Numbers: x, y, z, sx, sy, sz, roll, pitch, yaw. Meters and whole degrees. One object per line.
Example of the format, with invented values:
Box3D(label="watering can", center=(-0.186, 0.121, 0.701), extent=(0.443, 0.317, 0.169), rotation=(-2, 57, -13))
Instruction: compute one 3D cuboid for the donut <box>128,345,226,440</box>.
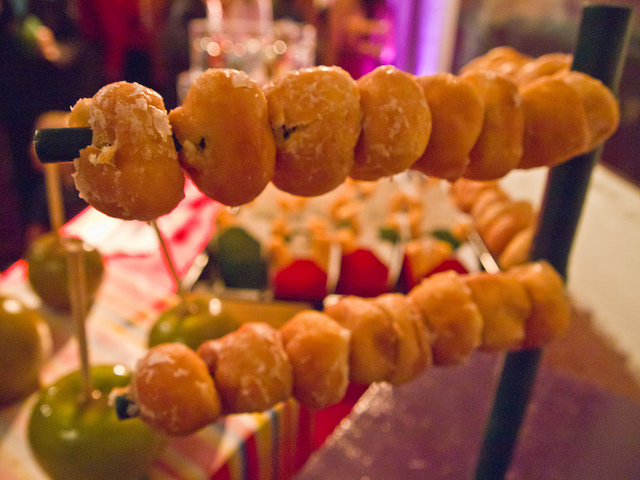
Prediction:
Box3D(label="donut", center=(-0.186, 0.193, 0.914), extent=(0.111, 0.084, 0.091), rotation=(-14, 41, -19))

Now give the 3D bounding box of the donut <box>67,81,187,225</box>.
Box3D(label="donut", center=(-0.218, -0.125, 0.884), extent=(0.096, 0.224, 0.185), rotation=(5, 76, 1))

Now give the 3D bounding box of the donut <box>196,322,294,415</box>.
Box3D(label="donut", center=(-0.091, 0.166, 0.966), extent=(0.103, 0.064, 0.114), rotation=(10, 49, 4))

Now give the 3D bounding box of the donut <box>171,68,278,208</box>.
Box3D(label="donut", center=(-0.116, -0.120, 0.873), extent=(0.124, 0.141, 0.097), rotation=(-8, 38, -12))

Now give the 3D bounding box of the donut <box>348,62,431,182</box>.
Box3D(label="donut", center=(0.094, -0.142, 0.888), extent=(0.103, 0.064, 0.124), rotation=(-8, 80, 3))

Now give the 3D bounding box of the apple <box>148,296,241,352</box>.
Box3D(label="apple", center=(-0.214, 0.156, 1.291), extent=(0.084, 0.086, 0.086), rotation=(-9, 3, 24))

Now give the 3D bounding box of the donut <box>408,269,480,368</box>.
Box3D(label="donut", center=(0.179, 0.112, 0.993), extent=(0.080, 0.093, 0.102), rotation=(-10, 40, -14))

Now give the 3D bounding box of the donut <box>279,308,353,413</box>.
Box3D(label="donut", center=(-0.015, 0.169, 0.976), extent=(0.111, 0.143, 0.129), rotation=(-3, 77, 27))
